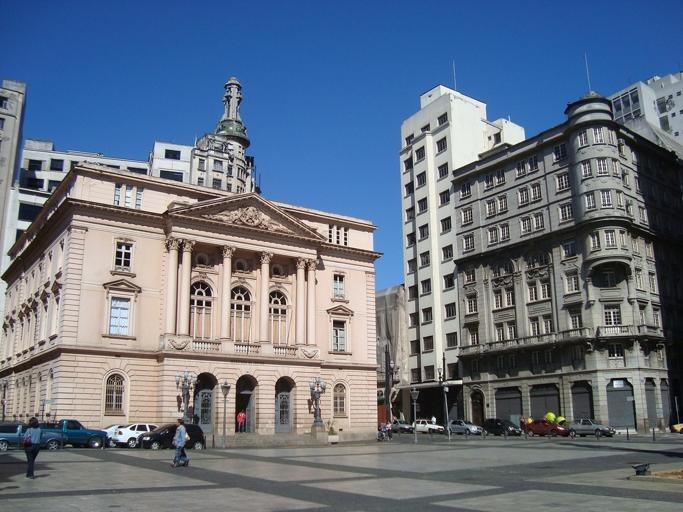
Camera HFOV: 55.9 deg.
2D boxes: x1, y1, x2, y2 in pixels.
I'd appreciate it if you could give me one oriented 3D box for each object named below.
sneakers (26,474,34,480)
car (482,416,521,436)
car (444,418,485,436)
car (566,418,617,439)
[{"bbox_3d":[-13.369,9.501,27.473,0.375,0.159,0.146,-10,-39,25],"label":"sneakers"},{"bbox_3d":[15.826,16.988,63.629,1.702,1.924,4.185,7,-20,-23],"label":"car"},{"bbox_3d":[12.945,18.140,67.486,2.557,1.833,4.898,4,-19,-14],"label":"car"},{"bbox_3d":[22.023,15.489,57.552,3.619,1.792,2.724,-17,-24,39],"label":"car"}]
